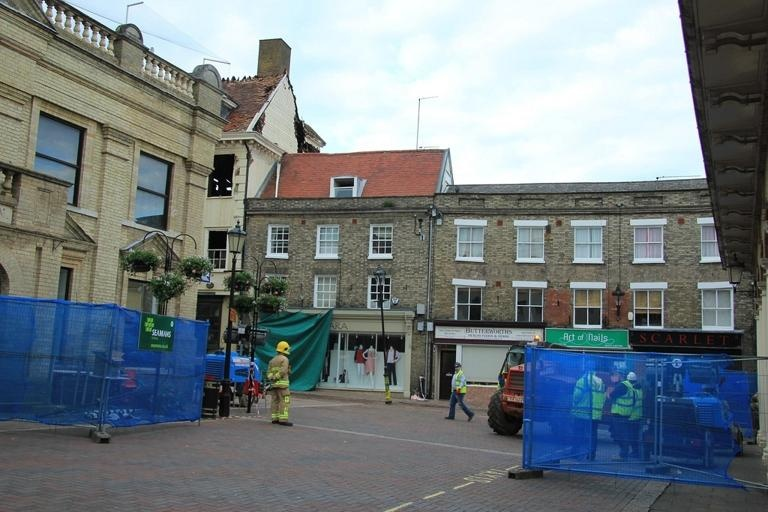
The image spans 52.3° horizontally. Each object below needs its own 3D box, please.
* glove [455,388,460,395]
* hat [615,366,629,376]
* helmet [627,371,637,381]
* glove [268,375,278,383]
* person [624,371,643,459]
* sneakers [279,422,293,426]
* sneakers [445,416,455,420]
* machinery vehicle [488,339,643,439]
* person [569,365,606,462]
[{"bbox_3d":[2.660,4.847,28.098,0.183,0.159,0.043,0,-2,35],"label":"glove"},{"bbox_3d":[4.831,2.326,15.943,0.321,0.281,0.169,-2,-13,27],"label":"hat"},{"bbox_3d":[4.982,2.428,15.730,0.156,0.132,0.210,-2,-14,20],"label":"helmet"},{"bbox_3d":[-3.193,3.530,22.522,0.204,0.148,0.243,0,-15,3],"label":"glove"},{"bbox_3d":[4.999,3.166,15.638,0.358,1.674,0.107,2,-6,23],"label":"person"},{"bbox_3d":[-2.820,4.818,22.517,0.372,0.138,0.129,1,0,-2],"label":"sneakers"},{"bbox_3d":[2.419,5.966,28.783,0.328,0.128,0.132,4,-2,14],"label":"sneakers"},{"bbox_3d":[5.428,3.765,24.138,4.246,2.563,2.554,-15,-10,35],"label":"machinery vehicle"},{"bbox_3d":[4.184,3.266,16.048,0.622,1.816,0.209,3,-6,14],"label":"person"}]
